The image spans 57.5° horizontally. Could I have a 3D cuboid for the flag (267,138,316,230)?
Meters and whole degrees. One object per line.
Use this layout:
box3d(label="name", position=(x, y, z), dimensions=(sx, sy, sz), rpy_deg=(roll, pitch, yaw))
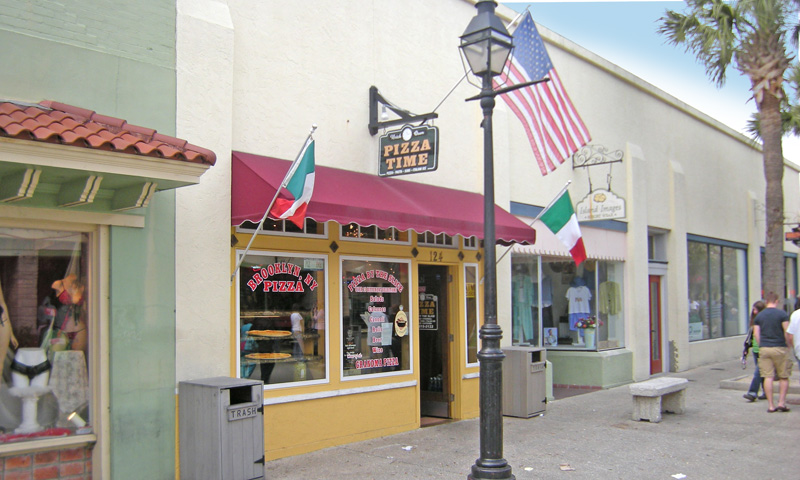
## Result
box3d(label="flag", position=(-1.813, -0.992, 12.320), dimensions=(0.763, 1.487, 0.465), rpy_deg=(-1, -10, -13))

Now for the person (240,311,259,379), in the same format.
box3d(label="person", position=(-2.741, 1.934, 13.004), dimensions=(0.230, 0.776, 0.817), rpy_deg=(-2, -2, 9))

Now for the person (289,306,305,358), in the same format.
box3d(label="person", position=(-1.903, 1.727, 13.553), dimensions=(0.306, 0.986, 0.146), rpy_deg=(3, -11, -33))

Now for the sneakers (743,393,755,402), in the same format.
box3d(label="sneakers", position=(8.289, 3.695, 17.201), dimensions=(0.240, 0.194, 0.283), rpy_deg=(-7, -10, 23))

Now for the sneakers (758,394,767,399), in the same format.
box3d(label="sneakers", position=(8.732, 3.752, 17.495), dimensions=(0.096, 0.109, 0.287), rpy_deg=(-7, -12, 38))

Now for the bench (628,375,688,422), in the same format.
box3d(label="bench", position=(5.705, 3.472, 15.983), dimensions=(0.707, 0.733, 1.576), rpy_deg=(-4, -4, 41))

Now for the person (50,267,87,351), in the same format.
box3d(label="person", position=(-5.332, 1.108, 11.724), dimensions=(0.461, 1.276, 0.270), rpy_deg=(-2, -9, -8))
